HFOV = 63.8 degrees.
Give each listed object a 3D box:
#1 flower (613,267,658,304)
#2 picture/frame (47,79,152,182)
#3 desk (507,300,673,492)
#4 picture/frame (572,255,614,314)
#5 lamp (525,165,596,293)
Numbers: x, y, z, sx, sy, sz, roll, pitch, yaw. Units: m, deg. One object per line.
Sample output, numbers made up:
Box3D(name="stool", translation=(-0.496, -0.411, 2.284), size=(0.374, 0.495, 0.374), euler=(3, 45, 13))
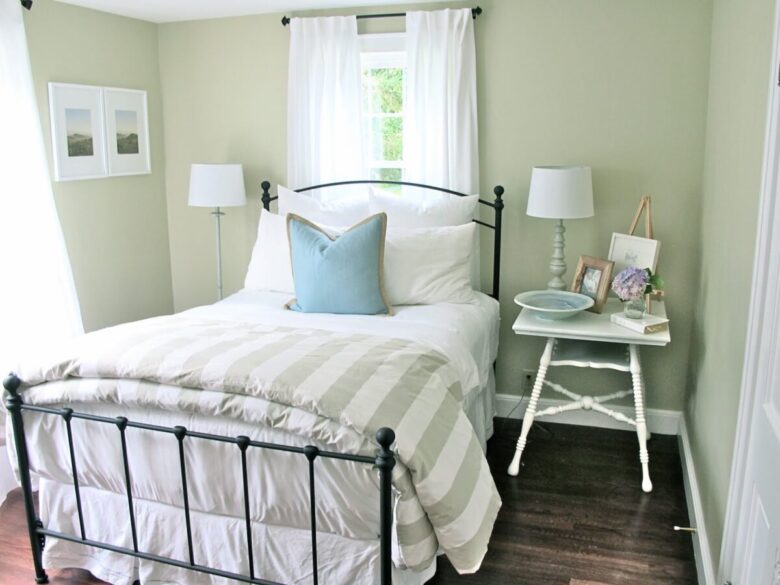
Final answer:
Box3D(name="flower", translation=(1.265, -0.074, 3.254), size=(0.168, 0.116, 0.196), euler=(-11, 24, 26))
Box3D(name="picture/frame", translation=(-1.871, -1.040, 3.993), size=(0.026, 0.555, 0.717), euler=(4, 8, 23))
Box3D(name="desk", translation=(1.060, 0.450, 3.726), size=(0.891, 0.984, 0.934), euler=(3, 12, 13))
Box3D(name="picture/frame", translation=(1.121, -0.036, 3.460), size=(0.037, 0.393, 0.269), euler=(14, -4, -36))
Box3D(name="lamp", translation=(1.004, -0.372, 3.633), size=(0.334, 0.701, 0.424), euler=(9, 18, 34))
